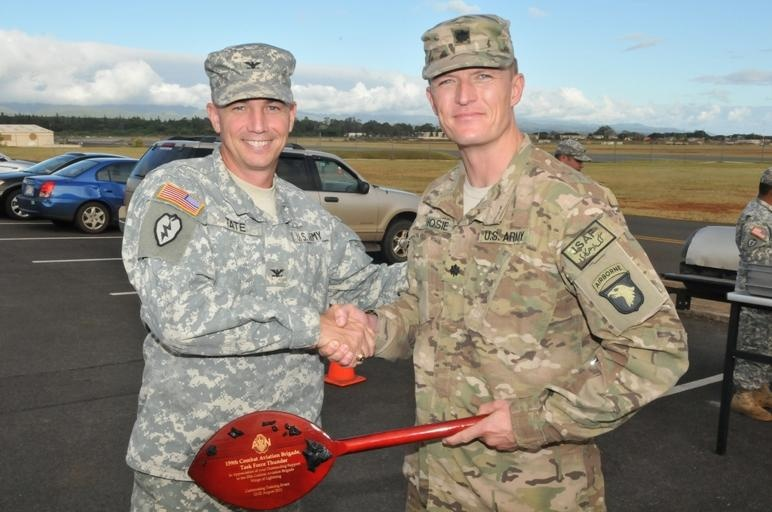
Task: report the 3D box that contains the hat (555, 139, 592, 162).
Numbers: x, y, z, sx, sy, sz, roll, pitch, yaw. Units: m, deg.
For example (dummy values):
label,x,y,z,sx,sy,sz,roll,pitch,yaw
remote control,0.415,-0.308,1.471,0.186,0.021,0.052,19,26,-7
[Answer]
label,x,y,z,sx,sy,sz,roll,pitch,yaw
hat,3.285,-1.804,9.970,0.683,0.299,0.434,2,6,-4

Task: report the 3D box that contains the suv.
label,x,y,z,sx,sy,sz,roll,pitch,yaw
suv,-2.191,-0.928,11.716,5.934,2.112,2.679,-1,4,-23
